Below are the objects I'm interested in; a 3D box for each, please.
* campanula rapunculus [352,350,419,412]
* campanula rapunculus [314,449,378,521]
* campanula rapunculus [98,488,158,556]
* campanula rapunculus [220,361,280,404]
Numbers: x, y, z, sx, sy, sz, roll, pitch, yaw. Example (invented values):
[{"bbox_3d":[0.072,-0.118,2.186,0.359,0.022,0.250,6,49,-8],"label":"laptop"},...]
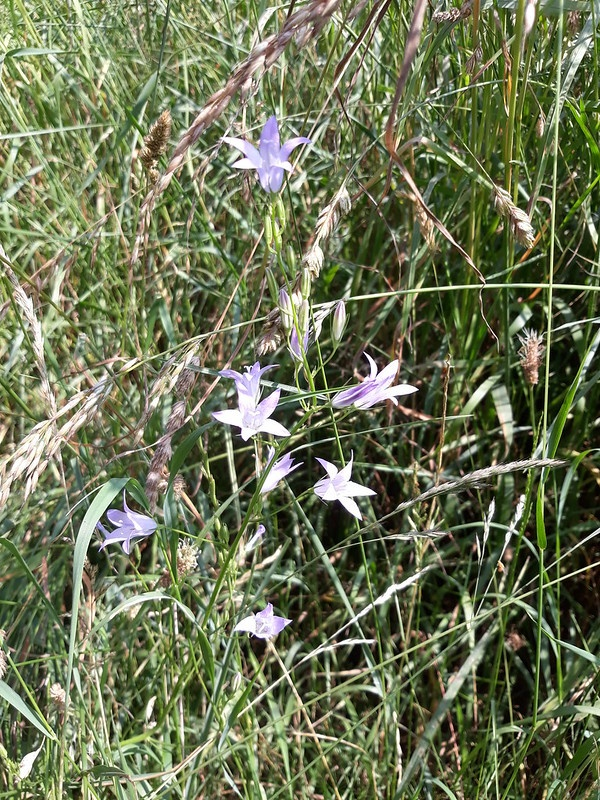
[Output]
[{"bbox_3d":[0.132,-0.012,1.159,0.077,0.039,0.108,-21,76,-11],"label":"campanula rapunculus"},{"bbox_3d":[0.064,0.104,1.151,0.032,0.092,0.132,5,94,29],"label":"campanula rapunculus"},{"bbox_3d":[-0.272,0.194,1.212,0.087,0.047,0.143,-9,90,15],"label":"campanula rapunculus"},{"bbox_3d":[-0.086,-0.033,1.079,0.053,0.053,0.052,12,106,45],"label":"campanula rapunculus"}]
